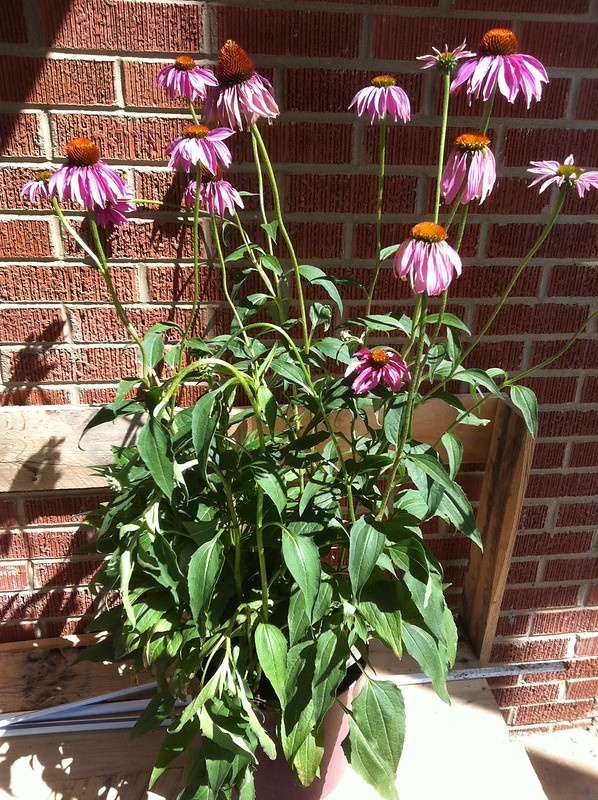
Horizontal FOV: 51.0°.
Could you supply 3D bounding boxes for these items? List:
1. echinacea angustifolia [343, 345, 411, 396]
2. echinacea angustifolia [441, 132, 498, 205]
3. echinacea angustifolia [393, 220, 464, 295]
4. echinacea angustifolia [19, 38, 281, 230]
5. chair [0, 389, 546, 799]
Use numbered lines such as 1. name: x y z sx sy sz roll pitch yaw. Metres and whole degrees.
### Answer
1. echinacea angustifolia: 0.110 -0.042 0.862 0.074 0.032 0.075 -20 40 -24
2. echinacea angustifolia: 0.191 -0.249 0.696 0.060 0.076 0.053 3 32 6
3. echinacea angustifolia: 0.134 -0.145 0.651 0.065 0.074 0.060 4 23 3
4. echinacea angustifolia: -0.209 -0.374 0.937 0.370 0.277 0.410 2 22 -2
5. chair: -0.079 0.293 0.965 0.909 0.515 0.291 -2 23 -6
